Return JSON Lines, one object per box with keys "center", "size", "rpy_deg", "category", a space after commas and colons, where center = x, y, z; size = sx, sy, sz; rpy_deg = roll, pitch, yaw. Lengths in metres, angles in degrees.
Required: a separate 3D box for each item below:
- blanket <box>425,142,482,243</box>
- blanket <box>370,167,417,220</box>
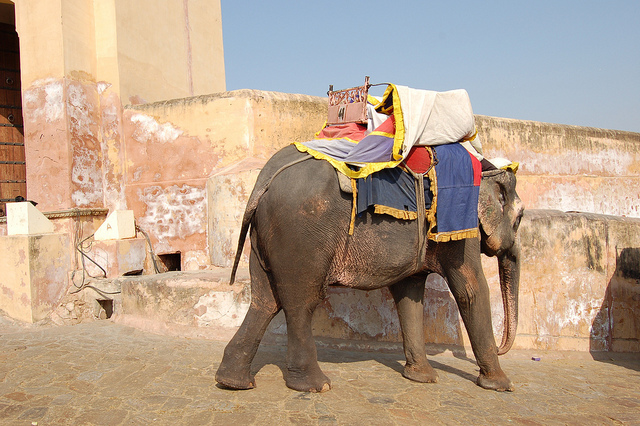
{"center": [1.379, -0.180, 6.762], "size": [0.442, 1.082, 0.471], "rpy_deg": [0, 0, 2], "category": "blanket"}
{"center": [0.754, -0.203, 6.666], "size": [0.452, 0.643, 0.331], "rpy_deg": [1, 1, 7], "category": "blanket"}
